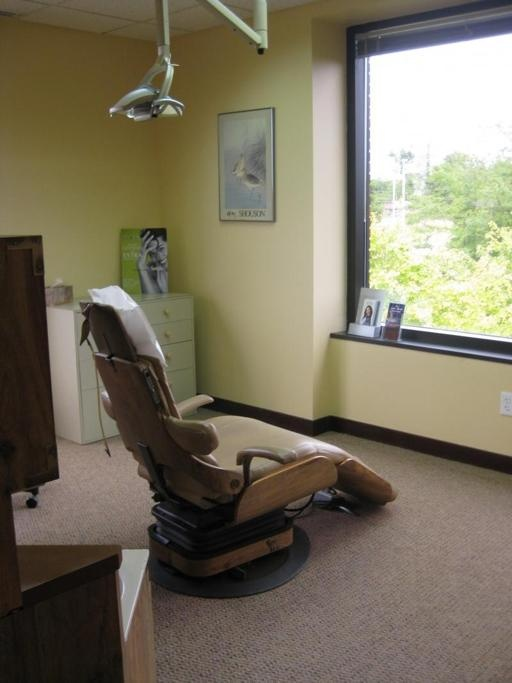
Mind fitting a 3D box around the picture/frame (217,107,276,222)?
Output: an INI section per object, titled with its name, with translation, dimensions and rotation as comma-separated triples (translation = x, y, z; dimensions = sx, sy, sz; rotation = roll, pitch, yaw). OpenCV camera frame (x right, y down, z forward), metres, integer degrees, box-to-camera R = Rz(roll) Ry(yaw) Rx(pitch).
[picture/frame]
translation = -0.064, -1.192, 3.826
dimensions = 0.500, 0.756, 0.030
rotation = 7, 13, 40
